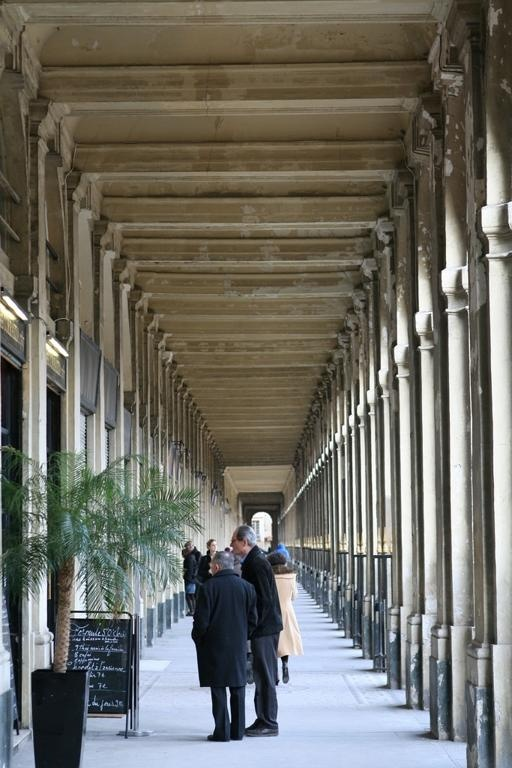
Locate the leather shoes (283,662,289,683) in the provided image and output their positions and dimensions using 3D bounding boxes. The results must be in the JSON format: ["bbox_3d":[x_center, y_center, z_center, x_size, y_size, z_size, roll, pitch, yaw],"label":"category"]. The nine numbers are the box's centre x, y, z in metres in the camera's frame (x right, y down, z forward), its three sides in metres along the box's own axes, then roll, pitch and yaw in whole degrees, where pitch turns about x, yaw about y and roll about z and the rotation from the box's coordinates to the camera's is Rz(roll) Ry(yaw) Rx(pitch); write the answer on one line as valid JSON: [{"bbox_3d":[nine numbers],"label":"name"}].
[{"bbox_3d":[0.318,3.042,13.145,0.053,0.234,0.085,-2,-26,0],"label":"leather shoes"}]

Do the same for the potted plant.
[{"bbox_3d":[-0.908,1.065,8.752,1.463,2.315,1.565,4,-21,-10],"label":"potted plant"}]
